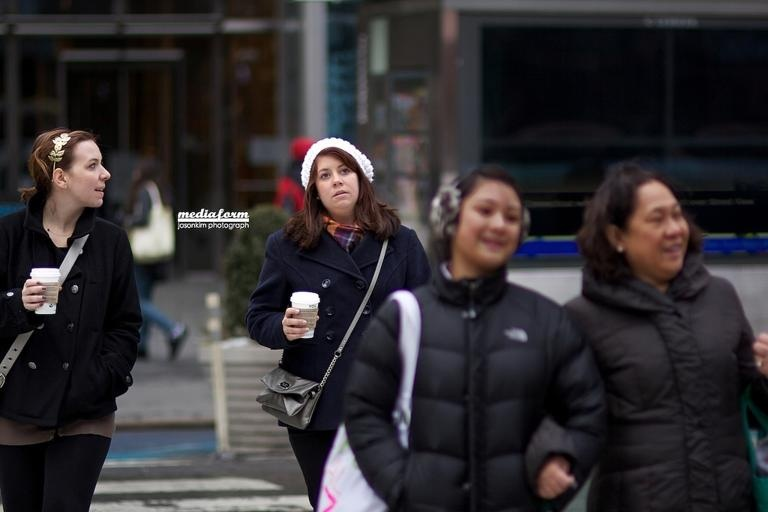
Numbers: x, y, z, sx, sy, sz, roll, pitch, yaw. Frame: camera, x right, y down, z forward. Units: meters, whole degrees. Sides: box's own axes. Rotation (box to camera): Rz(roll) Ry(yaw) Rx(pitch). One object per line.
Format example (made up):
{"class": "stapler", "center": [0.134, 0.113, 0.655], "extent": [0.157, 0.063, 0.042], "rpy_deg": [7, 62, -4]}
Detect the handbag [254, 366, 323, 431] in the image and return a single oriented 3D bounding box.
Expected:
{"class": "handbag", "center": [-0.497, 0.759, 6.153], "extent": [0.390, 0.257, 0.211], "rpy_deg": [19, 13, 41]}

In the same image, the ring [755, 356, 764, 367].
{"class": "ring", "center": [1.844, 0.512, 5.487], "extent": [0.056, 0.049, 0.016], "rpy_deg": [0, -4, 14]}

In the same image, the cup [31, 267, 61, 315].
{"class": "cup", "center": [-1.778, 0.189, 5.908], "extent": [0.136, 0.254, 0.112], "rpy_deg": [-4, 6, -22]}

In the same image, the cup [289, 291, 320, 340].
{"class": "cup", "center": [-0.415, 0.313, 5.956], "extent": [0.135, 0.248, 0.103], "rpy_deg": [-2, 6, -6]}

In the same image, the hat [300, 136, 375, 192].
{"class": "hat", "center": [-0.268, -0.566, 6.355], "extent": [0.308, 0.335, 0.154], "rpy_deg": [-6, 19, 1]}
